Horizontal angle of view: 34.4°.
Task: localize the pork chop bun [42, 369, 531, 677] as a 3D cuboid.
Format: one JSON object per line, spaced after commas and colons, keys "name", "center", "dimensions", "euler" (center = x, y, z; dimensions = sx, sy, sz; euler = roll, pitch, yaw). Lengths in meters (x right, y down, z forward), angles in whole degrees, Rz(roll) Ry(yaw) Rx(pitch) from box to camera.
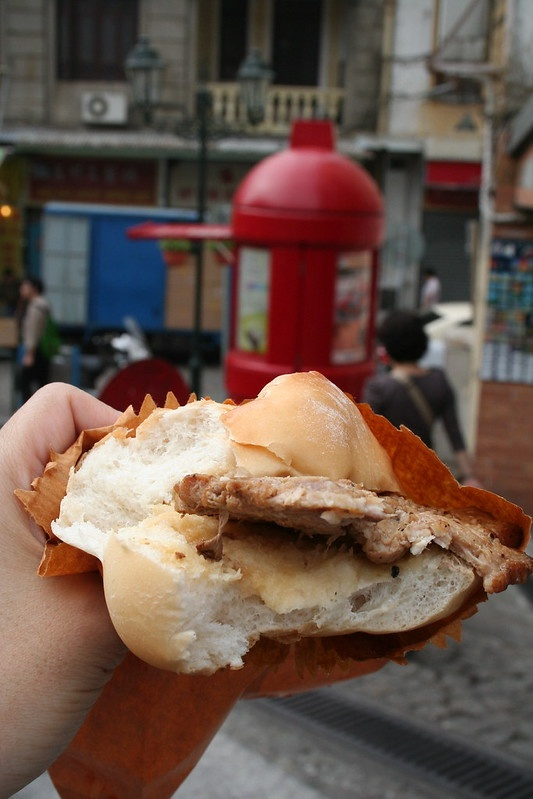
{"name": "pork chop bun", "center": [0.030, 0.135, 0.804], "dimensions": [0.389, 0.158, 0.310], "euler": [10, 4, -19]}
